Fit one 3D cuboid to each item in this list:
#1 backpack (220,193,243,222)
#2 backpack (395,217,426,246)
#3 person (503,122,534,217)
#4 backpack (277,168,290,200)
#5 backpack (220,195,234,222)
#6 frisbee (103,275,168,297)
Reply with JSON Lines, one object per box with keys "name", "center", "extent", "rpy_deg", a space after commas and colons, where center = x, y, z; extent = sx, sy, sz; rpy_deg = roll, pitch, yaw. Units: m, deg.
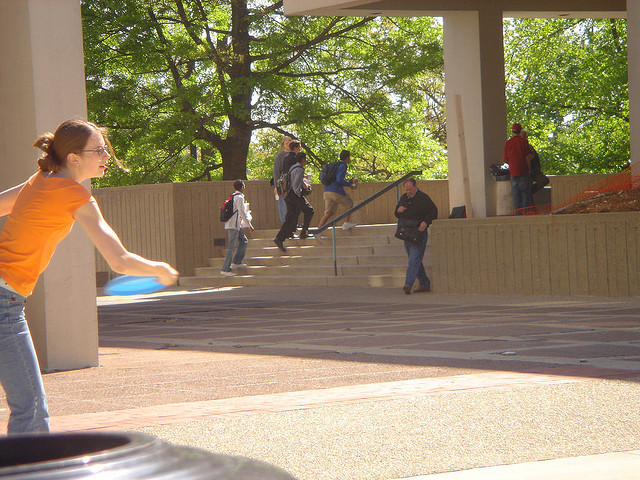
{"name": "backpack", "center": [-2.491, -0.795, 18.948], "extent": [0.847, 0.732, 0.494], "rpy_deg": [2, -4, -9]}
{"name": "backpack", "center": [1.753, -0.175, 13.761], "extent": [0.563, 0.516, 0.213], "rpy_deg": [17, 2, 28]}
{"name": "person", "center": [4.666, -1.717, 16.577], "extent": [0.619, 1.954, 0.729], "rpy_deg": [-2, 1, 13]}
{"name": "backpack", "center": [-0.981, -1.493, 18.807], "extent": [0.179, 0.772, 0.636], "rpy_deg": [-3, 1, -23]}
{"name": "backpack", "center": [-2.458, -0.834, 18.789], "extent": [0.366, 0.711, 0.337], "rpy_deg": [-2, 1, -2]}
{"name": "frisbee", "center": [-0.808, 0.195, 2.986], "extent": [0.305, 0.067, 0.247], "rpy_deg": [-2, 1, -41]}
